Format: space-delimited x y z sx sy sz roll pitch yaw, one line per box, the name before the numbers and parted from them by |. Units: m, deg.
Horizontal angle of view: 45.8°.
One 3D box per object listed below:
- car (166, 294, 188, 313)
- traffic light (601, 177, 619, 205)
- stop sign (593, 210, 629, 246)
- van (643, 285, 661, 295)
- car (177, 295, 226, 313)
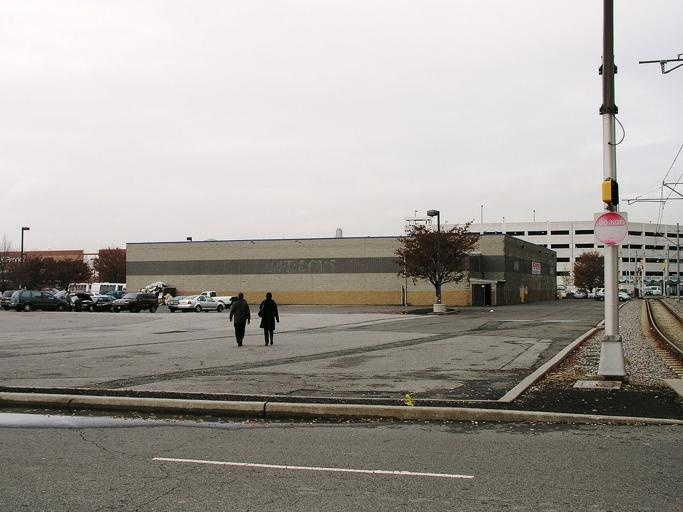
car | -11.596 3.526 57.676 1.149 0.689 2.007 -1 -2 -27
traffic light | 5.580 -1.345 16.778 0.224 0.521 0.396 -3 -1 42
stop sign | 5.602 -0.567 16.791 0.604 0.656 0.520 -2 -1 14
van | 52.507 5.830 135.938 1.546 1.469 6.598 -2 -2 31
car | -10.068 3.490 57.672 3.107 0.900 1.365 -3 1 -28
